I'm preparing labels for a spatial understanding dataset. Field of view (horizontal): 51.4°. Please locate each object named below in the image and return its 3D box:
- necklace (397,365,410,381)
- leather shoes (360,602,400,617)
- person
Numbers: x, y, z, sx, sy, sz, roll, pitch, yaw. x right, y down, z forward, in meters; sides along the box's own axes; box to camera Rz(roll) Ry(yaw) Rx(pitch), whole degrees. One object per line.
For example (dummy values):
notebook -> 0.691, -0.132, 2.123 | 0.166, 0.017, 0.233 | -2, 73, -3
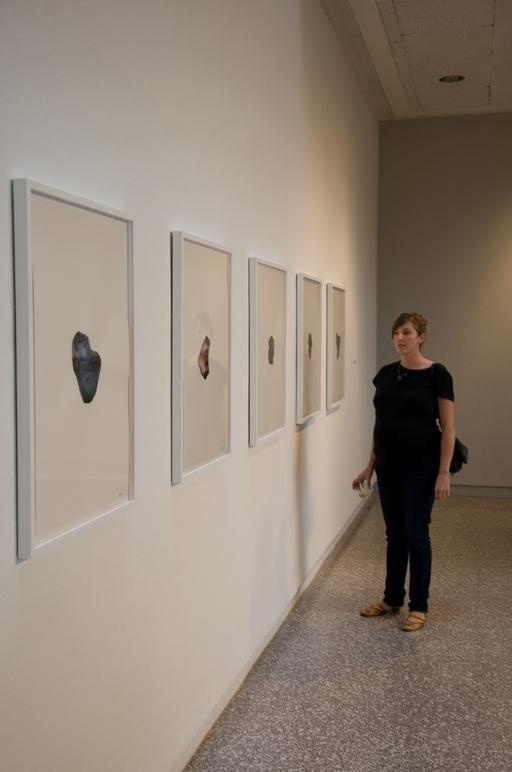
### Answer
necklace -> 0.889, -0.075, 3.248 | 0.048, 0.096, 0.025 | 3, -3, 42
leather shoes -> 0.806, 1.420, 3.429 | 0.204, 0.078, 0.112 | 2, 6, -5
person -> 0.936, 0.526, 3.260 | 0.285, 1.925, 0.578 | 1, -1, -31
